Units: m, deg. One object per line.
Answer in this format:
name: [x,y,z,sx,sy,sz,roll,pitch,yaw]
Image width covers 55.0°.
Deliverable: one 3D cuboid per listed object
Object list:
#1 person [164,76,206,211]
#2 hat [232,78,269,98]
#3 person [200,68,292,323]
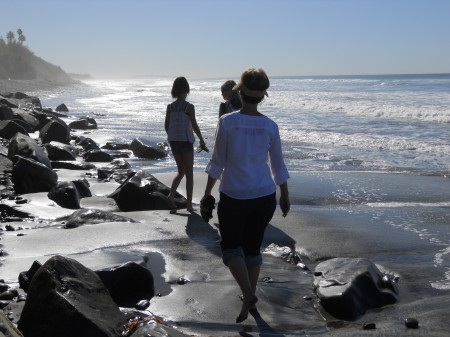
person: [-0.645,-0.404,7.302,0.685,2.259,0.805,0,20,-5]
hat: [0.278,-0.844,4.536,0.341,0.173,0.245,2,15,3]
person: [0.184,0.229,4.481,0.905,2.506,0.993,7,20,14]
